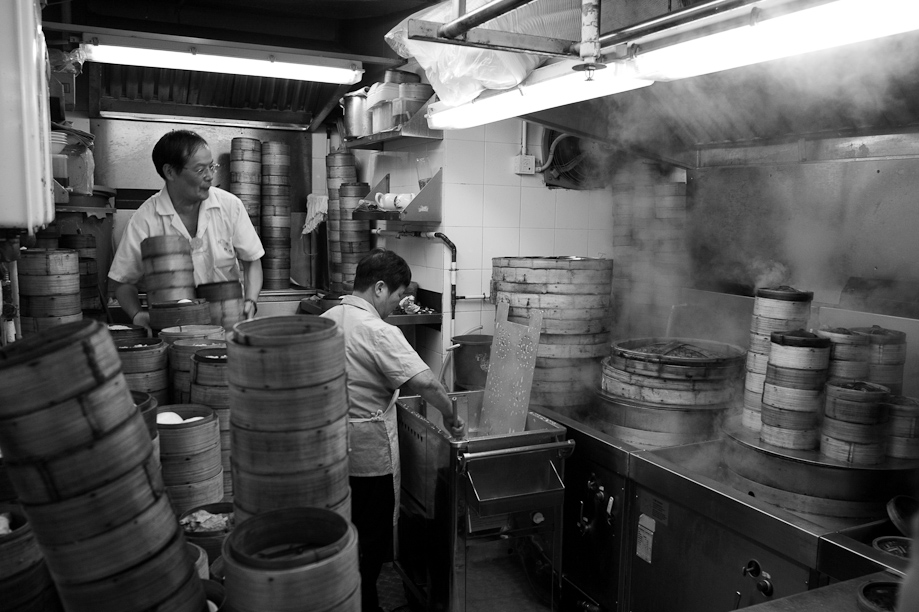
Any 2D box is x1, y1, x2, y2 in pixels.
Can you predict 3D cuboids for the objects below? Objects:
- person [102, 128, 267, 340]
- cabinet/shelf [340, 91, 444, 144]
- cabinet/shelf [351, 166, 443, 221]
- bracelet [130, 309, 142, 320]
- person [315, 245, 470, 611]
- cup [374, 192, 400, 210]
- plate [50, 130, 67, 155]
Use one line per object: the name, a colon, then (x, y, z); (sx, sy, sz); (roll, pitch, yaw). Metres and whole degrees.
person: (-1.385, -0.428, 3.899); (0.828, 0.978, 0.921); (-7, 13, -32)
cabinet/shelf: (-0.436, -1.306, 5.082); (0.310, 0.344, 0.979); (-6, 11, -26)
cabinet/shelf: (-0.429, -0.761, 5.026); (0.354, 0.366, 0.665); (-5, 8, -40)
bracelet: (-1.642, 0.043, 3.731); (0.065, 0.028, 0.073); (-17, 3, -11)
person: (-0.327, 0.693, 3.611); (0.578, 1.912, 0.468); (-3, 11, -14)
cup: (-0.498, -0.716, 5.031); (0.194, 0.174, 0.103); (4, 8, 3)
plate: (-2.394, -0.981, 4.401); (0.072, 0.139, 0.435); (-6, 11, -24)
